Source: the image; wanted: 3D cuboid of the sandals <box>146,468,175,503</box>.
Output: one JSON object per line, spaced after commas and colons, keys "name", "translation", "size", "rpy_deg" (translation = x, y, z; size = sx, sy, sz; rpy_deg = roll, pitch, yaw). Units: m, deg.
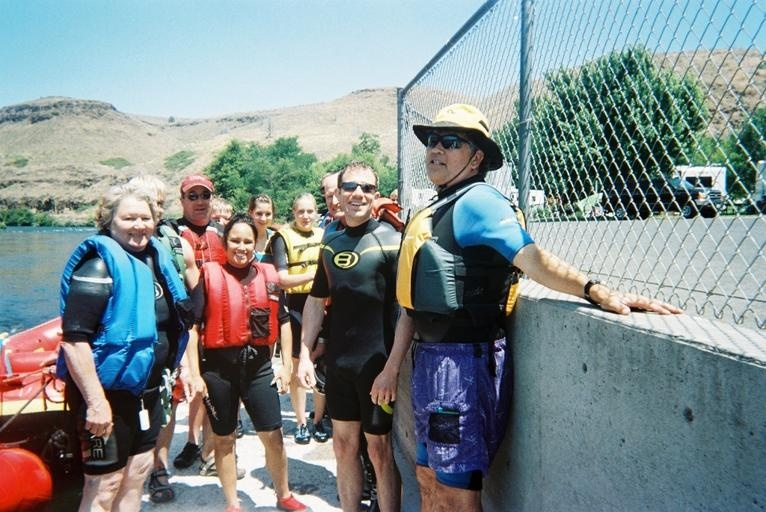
{"name": "sandals", "translation": [-1.977, 2.054, 5.151], "size": [0.130, 0.159, 0.391], "rpy_deg": [2, -9, -17]}
